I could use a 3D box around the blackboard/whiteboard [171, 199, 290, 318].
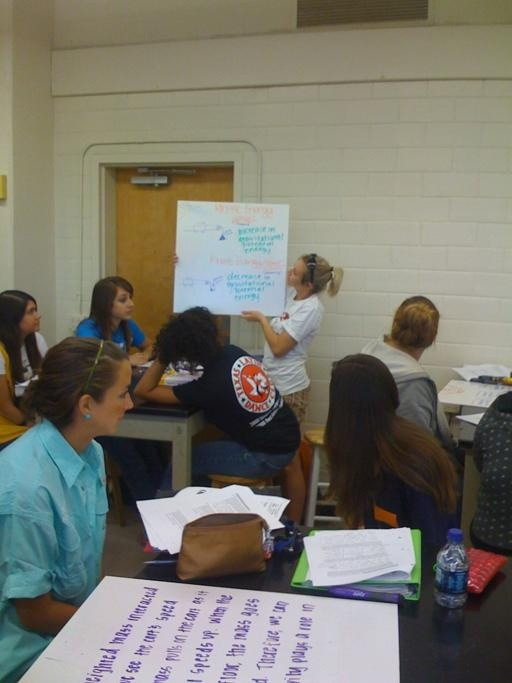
[{"bbox_3d":[-0.141,-0.457,3.321,0.717,0.733,0.036,0,1,3],"label":"blackboard/whiteboard"}]

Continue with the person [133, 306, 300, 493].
[{"bbox_3d":[-0.157,0.246,2.376,0.675,0.751,0.257,2,9,2],"label":"person"}]

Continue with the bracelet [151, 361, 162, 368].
[{"bbox_3d":[-0.403,0.093,2.340,0.033,0.031,0.033,5,-4,-21],"label":"bracelet"}]
